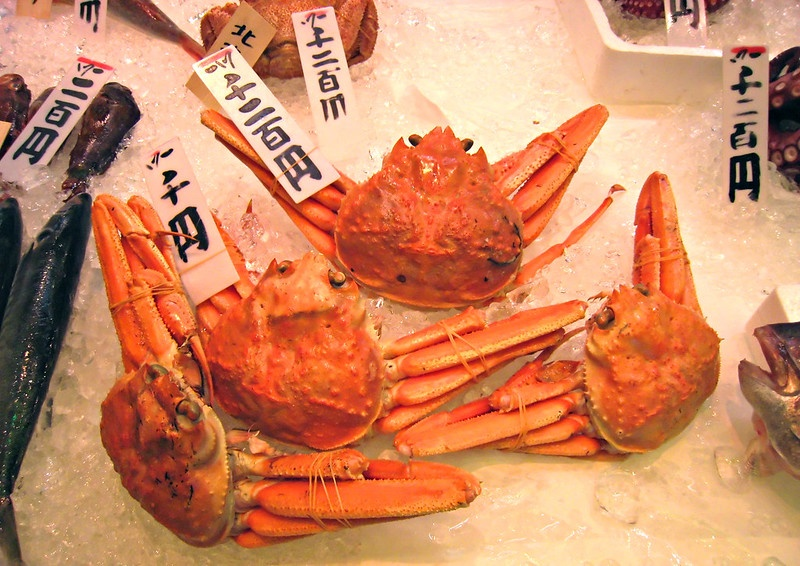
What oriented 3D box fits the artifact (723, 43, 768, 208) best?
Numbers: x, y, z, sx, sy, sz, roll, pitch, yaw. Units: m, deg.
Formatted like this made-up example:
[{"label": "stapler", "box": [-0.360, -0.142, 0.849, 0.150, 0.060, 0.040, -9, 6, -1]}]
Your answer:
[{"label": "artifact", "box": [1.856, -0.859, 3.534, 0.218, 0.805, 0.185, 0, 19, 14]}]
